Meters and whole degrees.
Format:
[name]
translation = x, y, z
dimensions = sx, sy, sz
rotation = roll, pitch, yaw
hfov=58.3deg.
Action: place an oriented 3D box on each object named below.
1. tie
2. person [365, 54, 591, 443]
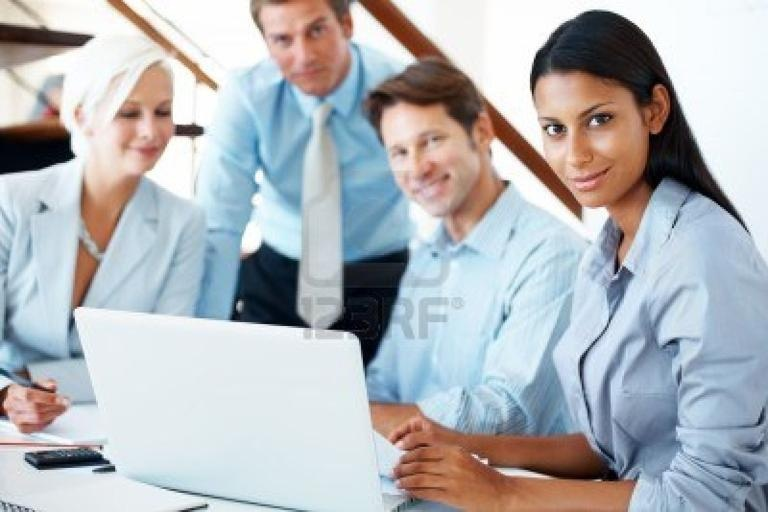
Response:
[tie]
translation = -0.215, -0.141, 2.396
dimensions = 0.161, 0.753, 0.121
rotation = 3, -6, -15
[person]
translation = 0.238, 0.023, 2.481
dimensions = 0.959, 1.350, 0.867
rotation = -5, -2, -10
